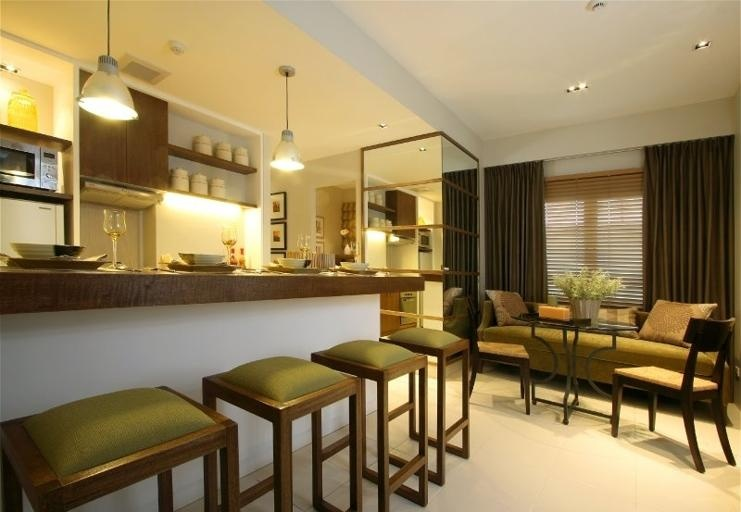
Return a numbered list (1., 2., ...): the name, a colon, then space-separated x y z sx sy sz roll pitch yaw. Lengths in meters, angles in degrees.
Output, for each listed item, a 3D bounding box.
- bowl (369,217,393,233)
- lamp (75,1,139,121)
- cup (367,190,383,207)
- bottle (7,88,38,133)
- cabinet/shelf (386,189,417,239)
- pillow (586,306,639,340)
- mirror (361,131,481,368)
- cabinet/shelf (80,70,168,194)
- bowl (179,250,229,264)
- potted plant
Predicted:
1. bowl: 0.140 -0.390 6.350 0.235 0.168 0.174 0 -1 18
2. lamp: -1.956 -1.457 3.732 0.352 0.871 1.033 -5 13 -25
3. cup: 0.073 -0.739 6.376 0.224 0.217 0.129 3 5 34
4. bottle: -2.954 -1.230 4.287 0.212 0.336 0.287 -6 14 -28
5. cabinet/shelf: 0.392 -0.548 6.321 0.256 0.436 0.139 -4 13 -43
6. pillow: 2.685 0.651 5.656 0.160 0.488 0.522 12 -4 -38
7. mirror: 0.675 -0.299 6.749 1.565 2.319 1.562 -15 17 -23
8. cabinet/shelf: -2.308 -1.290 4.664 0.338 0.962 0.866 39 37 21
9. bowl: -1.030 0.019 3.154 0.203 0.052 0.141 3 -8 -30
10. potted plant: 2.134 0.341 5.055 0.801 0.736 0.631 1 2 10
